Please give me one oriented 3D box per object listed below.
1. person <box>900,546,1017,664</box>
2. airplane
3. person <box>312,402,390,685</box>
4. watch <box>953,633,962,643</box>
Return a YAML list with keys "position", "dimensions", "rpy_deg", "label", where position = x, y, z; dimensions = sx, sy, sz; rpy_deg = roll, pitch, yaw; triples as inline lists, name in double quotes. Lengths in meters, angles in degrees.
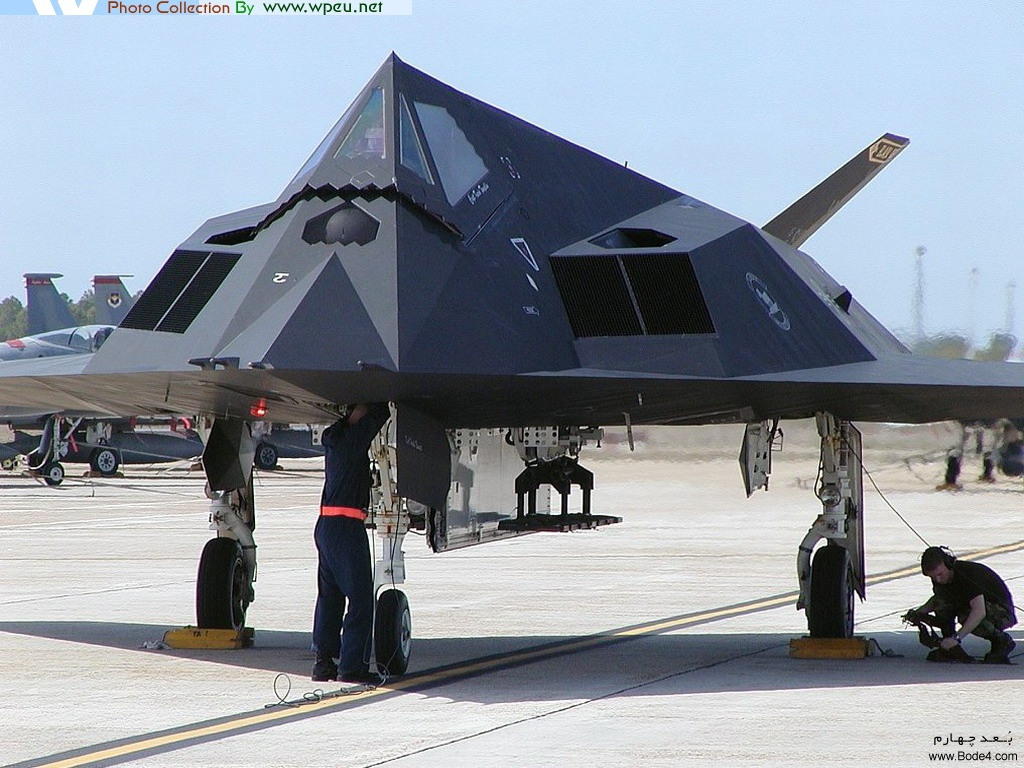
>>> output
- position: [4.376, 2.144, 13.344]
  dimensions: [1.224, 1.049, 0.931]
  rpy_deg: [4, -13, -5]
  label: "person"
- position: [-0.234, -0.098, 12.981]
  dimensions: [8.056, 5.398, 4.617]
  rpy_deg: [3, -9, -18]
  label: "airplane"
- position: [-1.374, 1.320, 11.797]
  dimensions: [0.588, 2.318, 0.619]
  rpy_deg: [2, -9, -7]
  label: "person"
- position: [4.087, 2.304, 12.789]
  dimensions: [0.075, 0.064, 0.025]
  rpy_deg: [-3, 0, 2]
  label: "watch"
